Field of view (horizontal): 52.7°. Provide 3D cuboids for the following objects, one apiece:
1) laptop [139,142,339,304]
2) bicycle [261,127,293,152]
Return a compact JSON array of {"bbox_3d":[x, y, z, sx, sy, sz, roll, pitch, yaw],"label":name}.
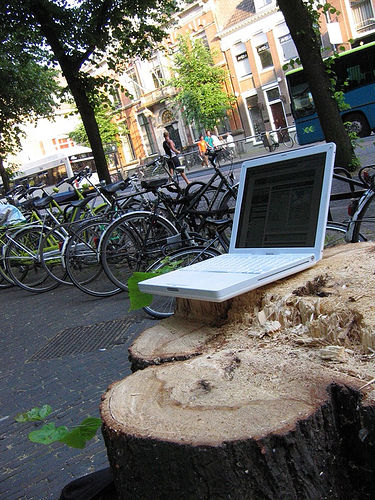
[{"bbox_3d":[0.214,-0.068,1.425,0.796,0.512,0.547,-11,5,-37],"label":"laptop"},{"bbox_3d":[5.735,-6.848,23.607,2.497,1.456,1.236,6,35,39],"label":"bicycle"}]
